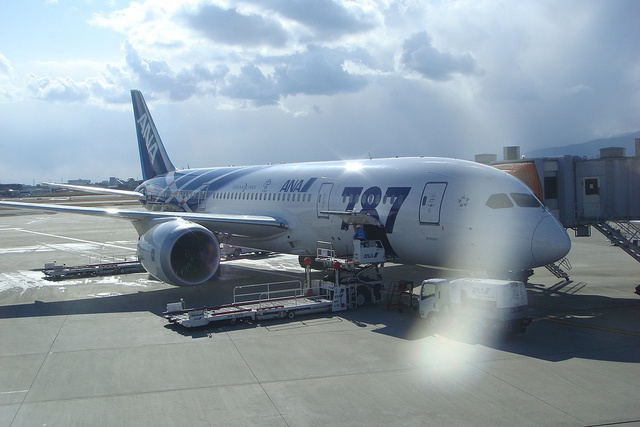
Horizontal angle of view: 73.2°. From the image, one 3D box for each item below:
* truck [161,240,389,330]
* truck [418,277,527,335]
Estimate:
[{"bbox_3d":[-1.832,2.966,18.751,9.242,2.674,2.530,-2,-2,-30],"label":"truck"},{"bbox_3d":[5.792,3.405,16.093,2.129,1.593,3.656,7,-7,-38],"label":"truck"}]
